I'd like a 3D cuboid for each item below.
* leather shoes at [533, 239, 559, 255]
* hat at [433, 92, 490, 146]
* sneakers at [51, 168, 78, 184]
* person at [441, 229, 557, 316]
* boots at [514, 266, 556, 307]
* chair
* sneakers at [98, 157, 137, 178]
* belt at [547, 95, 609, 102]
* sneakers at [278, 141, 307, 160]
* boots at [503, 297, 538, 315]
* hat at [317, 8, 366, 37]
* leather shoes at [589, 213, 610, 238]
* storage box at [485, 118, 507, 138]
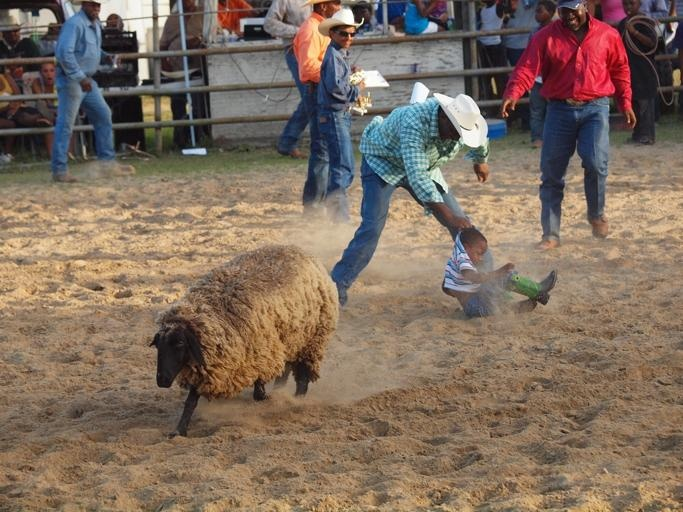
[{"bbox_3d":[2.195,-0.114,11.679,0.306,0.094,0.112,-2,8,-33],"label":"leather shoes"},{"bbox_3d":[1.078,-1.251,9.788,0.495,0.193,0.421,51,29,13],"label":"hat"},{"bbox_3d":[-3.703,-1.052,14.526,0.307,0.101,0.147,-3,18,7],"label":"sneakers"},{"bbox_3d":[1.472,0.129,10.332,1.197,0.725,0.655,1,17,6],"label":"person"},{"bbox_3d":[1.836,0.303,10.428,0.378,0.373,0.162,38,-5,-17],"label":"boots"},{"bbox_3d":[-4.491,-2.180,16.378,0.446,1.378,0.755,-6,13,-15],"label":"chair"},{"bbox_3d":[-3.099,-1.217,15.045,0.495,0.187,0.228,-4,17,-11],"label":"sneakers"},{"bbox_3d":[2.489,-1.646,11.574,0.592,0.085,0.242,0,11,10],"label":"belt"},{"bbox_3d":[-0.696,-1.471,15.324,0.523,0.200,0.169,5,24,-20],"label":"sneakers"},{"bbox_3d":[1.670,0.468,10.290,0.276,0.054,0.143,-7,30,6],"label":"boots"},{"bbox_3d":[-0.094,-2.546,11.769,0.365,0.135,0.385,3,-20,-41],"label":"hat"},{"bbox_3d":[2.819,-0.355,11.926,0.142,0.131,0.314,-19,43,-7],"label":"leather shoes"},{"bbox_3d":[2.405,-1.962,17.073,0.466,0.233,0.408,-1,20,0],"label":"storage box"}]
